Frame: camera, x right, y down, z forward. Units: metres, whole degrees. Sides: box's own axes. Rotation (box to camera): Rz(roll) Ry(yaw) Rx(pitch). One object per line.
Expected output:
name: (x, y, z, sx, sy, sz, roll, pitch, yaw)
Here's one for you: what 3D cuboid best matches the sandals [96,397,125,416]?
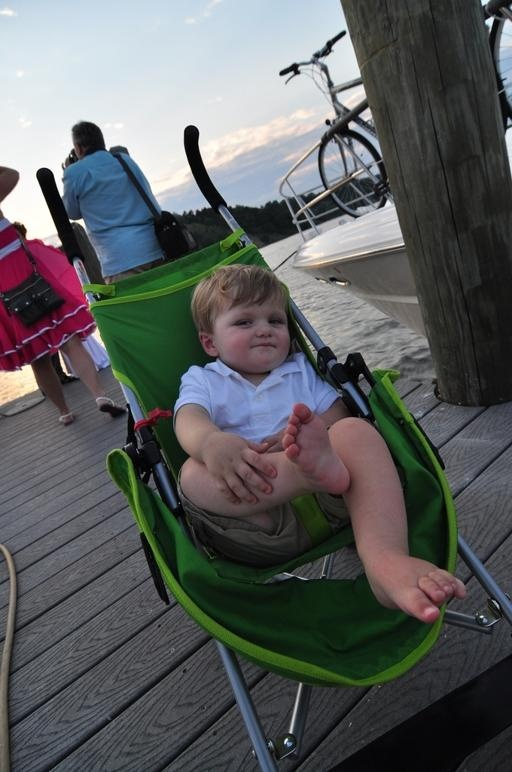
sandals: (-0.826, 0.114, 3.095, 0.085, 0.083, 0.205, -7, 2, 6)
